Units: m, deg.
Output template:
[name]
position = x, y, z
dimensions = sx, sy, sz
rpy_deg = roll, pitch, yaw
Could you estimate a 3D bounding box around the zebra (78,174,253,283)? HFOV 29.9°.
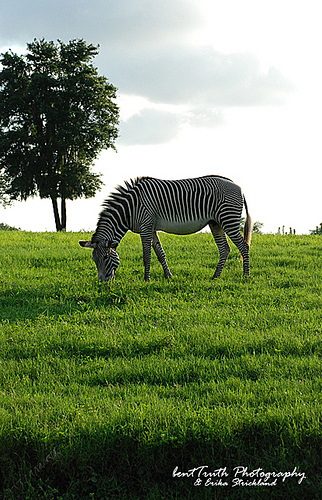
[zebra]
position = 0.208, -0.406, 12.777
dimensions = 3.333, 2.200, 1.368
rpy_deg = -5, 8, -10
